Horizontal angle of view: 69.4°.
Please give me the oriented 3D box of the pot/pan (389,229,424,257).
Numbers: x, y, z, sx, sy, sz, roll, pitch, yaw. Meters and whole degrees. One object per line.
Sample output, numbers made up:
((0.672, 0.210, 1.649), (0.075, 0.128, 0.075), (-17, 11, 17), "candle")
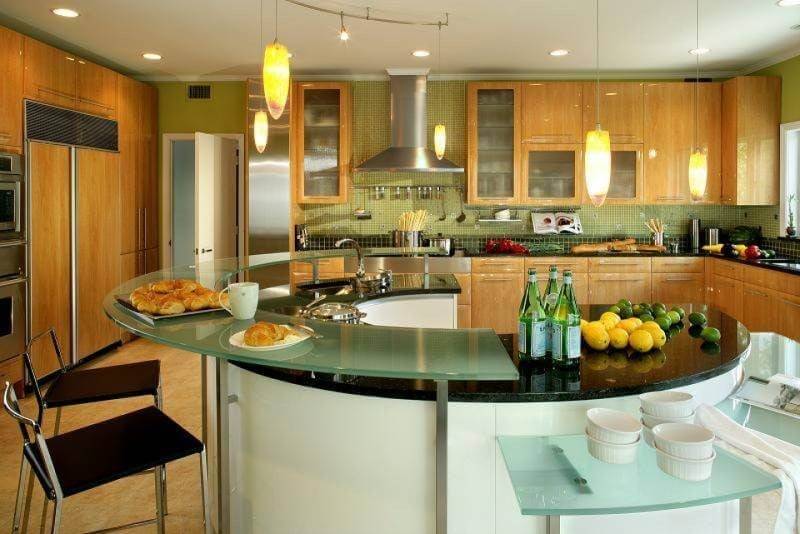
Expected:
((0.080, -0.259, 6.358), (0.306, 0.285, 0.328), (0, 3, 11), "pot/pan")

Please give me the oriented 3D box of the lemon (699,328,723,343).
((1.617, 0.342, 3.008), (0.079, 0.075, 0.100), (8, 14, 12), "lemon")

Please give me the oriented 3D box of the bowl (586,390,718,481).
((0.988, 0.668, 2.292), (0.408, 0.132, 0.293), (-3, 6, 4), "bowl")

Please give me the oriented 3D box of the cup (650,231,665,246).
((2.979, -0.320, 6.724), (0.185, 0.189, 0.176), (-1, -1, 0), "cup")

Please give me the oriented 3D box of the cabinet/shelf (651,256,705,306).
((2.982, 0.128, 6.525), (0.749, 0.662, 0.480), (0, -2, 4), "cabinet/shelf")

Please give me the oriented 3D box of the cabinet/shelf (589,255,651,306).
((2.384, 0.146, 6.549), (0.801, 0.704, 0.514), (0, -4, 3), "cabinet/shelf")

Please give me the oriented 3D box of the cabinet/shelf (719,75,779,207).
((3.764, -1.346, 6.197), (0.550, 1.349, 0.271), (0, 7, 27), "cabinet/shelf")

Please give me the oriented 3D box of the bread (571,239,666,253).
((2.474, -0.228, 6.551), (0.992, 0.136, 0.514), (0, 7, 19), "bread")

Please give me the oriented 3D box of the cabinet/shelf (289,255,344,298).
((-0.893, 0.155, 6.228), (0.651, 0.539, 0.330), (-1, -4, -1), "cabinet/shelf")

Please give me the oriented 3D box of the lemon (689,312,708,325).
((1.678, 0.300, 3.256), (0.080, 0.072, 0.094), (0, 7, 23), "lemon")

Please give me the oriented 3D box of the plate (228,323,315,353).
((-0.531, 0.323, 2.530), (0.225, 0.028, 0.174), (-5, 10, -39), "plate")

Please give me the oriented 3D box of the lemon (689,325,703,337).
((1.635, 0.357, 3.188), (0.060, 0.038, 0.069), (-2, 7, 4), "lemon")

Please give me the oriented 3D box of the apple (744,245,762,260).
((3.604, -0.144, 5.884), (0.137, 0.136, 0.174), (-1, -2, 30), "apple")

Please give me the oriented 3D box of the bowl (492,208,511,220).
((1.211, -0.612, 6.840), (0.201, 0.141, 0.158), (-2, 7, 10), "bowl")

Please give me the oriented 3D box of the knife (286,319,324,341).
((-0.459, 0.287, 2.700), (0.065, 0.039, 0.235), (-6, 12, -29), "knife")

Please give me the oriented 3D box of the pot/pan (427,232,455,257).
((0.479, -0.245, 6.457), (0.265, 0.176, 0.252), (0, -2, -7), "pot/pan")
